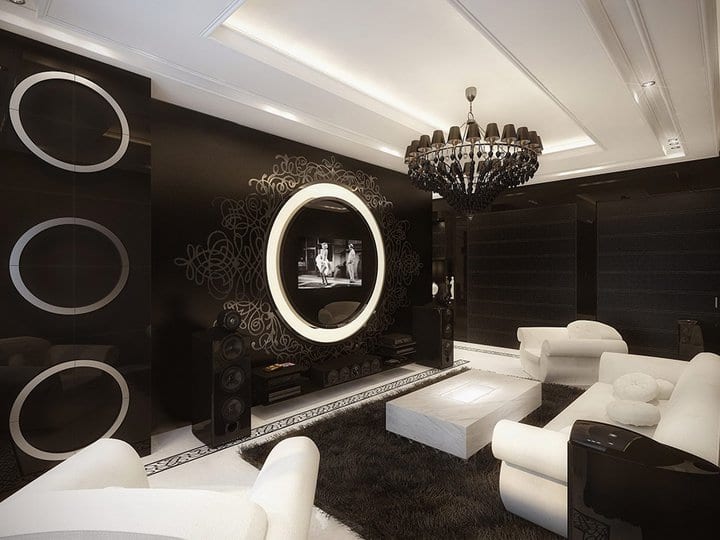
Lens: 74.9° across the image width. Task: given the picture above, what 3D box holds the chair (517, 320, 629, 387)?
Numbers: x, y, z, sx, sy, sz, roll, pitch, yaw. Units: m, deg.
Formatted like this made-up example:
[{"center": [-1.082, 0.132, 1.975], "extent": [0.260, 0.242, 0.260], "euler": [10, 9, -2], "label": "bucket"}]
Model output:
[{"center": [2.382, 0.949, 5.374], "extent": [0.723, 0.713, 0.989], "euler": [2, -7, -3], "label": "chair"}]

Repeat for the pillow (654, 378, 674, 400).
[{"center": [2.443, 0.947, 3.791], "extent": [0.152, 0.125, 0.155], "euler": [-1, 1, -30], "label": "pillow"}]

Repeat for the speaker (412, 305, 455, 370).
[{"center": [0.954, 0.865, 6.110], "extent": [0.506, 0.764, 0.438], "euler": [0, 14, 6], "label": "speaker"}]

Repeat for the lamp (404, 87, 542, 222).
[{"center": [1.082, -1.183, 4.550], "extent": [1.193, 1.222, 1.245], "euler": [-2, -7, 25], "label": "lamp"}]
